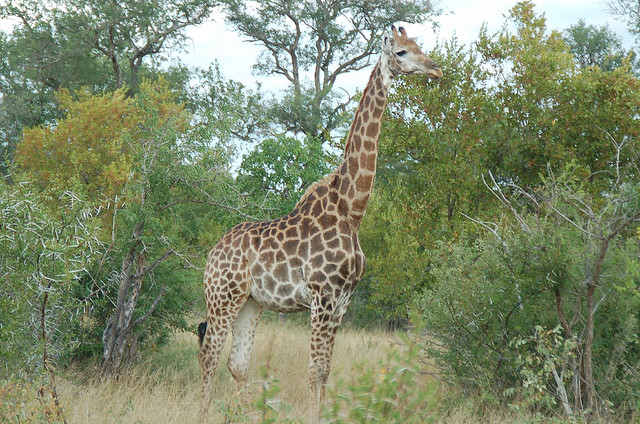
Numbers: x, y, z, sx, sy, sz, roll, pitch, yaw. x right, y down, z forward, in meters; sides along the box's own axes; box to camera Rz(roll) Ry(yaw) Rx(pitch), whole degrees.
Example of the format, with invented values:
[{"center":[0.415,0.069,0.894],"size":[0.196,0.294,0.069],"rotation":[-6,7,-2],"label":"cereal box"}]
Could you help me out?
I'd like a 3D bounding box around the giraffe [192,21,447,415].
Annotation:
[{"center":[-0.395,0.126,15.363],"size":[3.654,8.313,7.932],"rotation":[7,-9,-6],"label":"giraffe"}]
